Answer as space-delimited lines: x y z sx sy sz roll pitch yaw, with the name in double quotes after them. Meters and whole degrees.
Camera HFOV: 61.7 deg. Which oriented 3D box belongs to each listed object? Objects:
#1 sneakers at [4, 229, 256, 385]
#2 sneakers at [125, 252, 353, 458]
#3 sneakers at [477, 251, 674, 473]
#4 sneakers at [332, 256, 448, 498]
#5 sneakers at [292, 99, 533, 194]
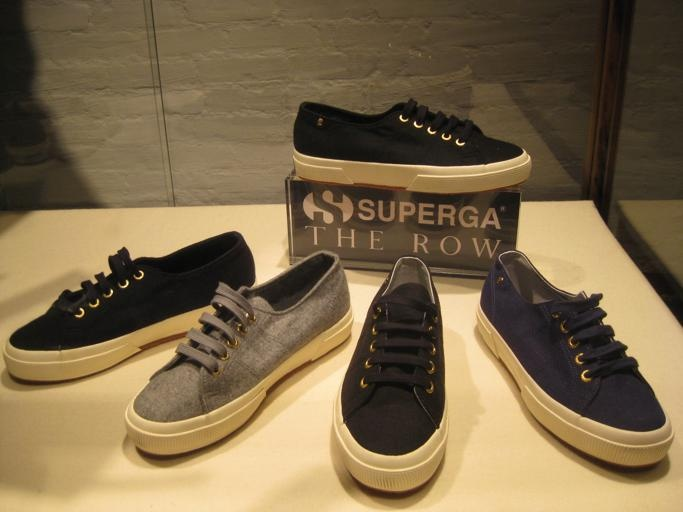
-0.431 0.026 1.364 0.627 0.235 0.229 -19 30 -28 "sneakers"
-0.177 0.173 1.279 0.219 0.234 0.614 27 46 38 "sneakers"
0.446 0.197 1.217 0.196 0.201 0.488 -16 34 -14 "sneakers"
0.109 0.188 1.205 0.212 0.212 0.585 3 31 9 "sneakers"
0.151 -0.285 1.560 0.647 0.237 0.248 3 27 5 "sneakers"
